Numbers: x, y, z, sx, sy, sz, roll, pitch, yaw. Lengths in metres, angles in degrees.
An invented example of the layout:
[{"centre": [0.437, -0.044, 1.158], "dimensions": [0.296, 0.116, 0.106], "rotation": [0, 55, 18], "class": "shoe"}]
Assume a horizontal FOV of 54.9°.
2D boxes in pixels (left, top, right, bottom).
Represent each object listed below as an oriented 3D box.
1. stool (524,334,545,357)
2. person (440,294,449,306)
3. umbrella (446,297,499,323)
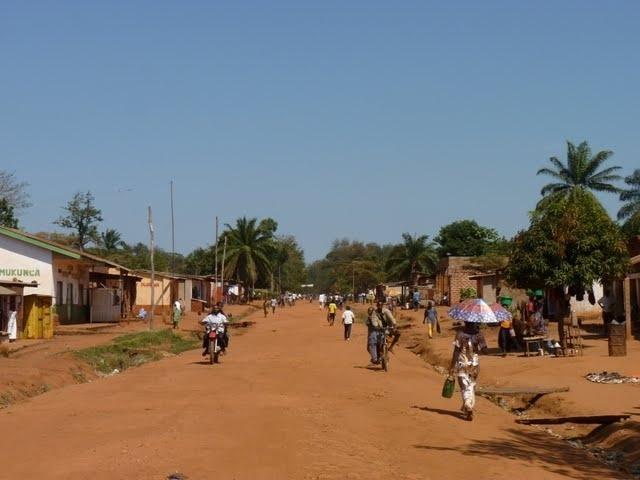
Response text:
[{"centre": [8.158, 4.024, 23.594], "dimensions": [0.890, 0.669, 0.796], "rotation": [0, -8, -4], "class": "stool"}, {"centre": [11.213, 5.386, 55.275], "dimensions": [0.785, 1.200, 0.880], "rotation": [-3, 6, -29], "class": "person"}, {"centre": [3.768, 1.729, 15.069], "dimensions": [0.837, 0.637, 1.351], "rotation": [3, -10, -20], "class": "umbrella"}]
